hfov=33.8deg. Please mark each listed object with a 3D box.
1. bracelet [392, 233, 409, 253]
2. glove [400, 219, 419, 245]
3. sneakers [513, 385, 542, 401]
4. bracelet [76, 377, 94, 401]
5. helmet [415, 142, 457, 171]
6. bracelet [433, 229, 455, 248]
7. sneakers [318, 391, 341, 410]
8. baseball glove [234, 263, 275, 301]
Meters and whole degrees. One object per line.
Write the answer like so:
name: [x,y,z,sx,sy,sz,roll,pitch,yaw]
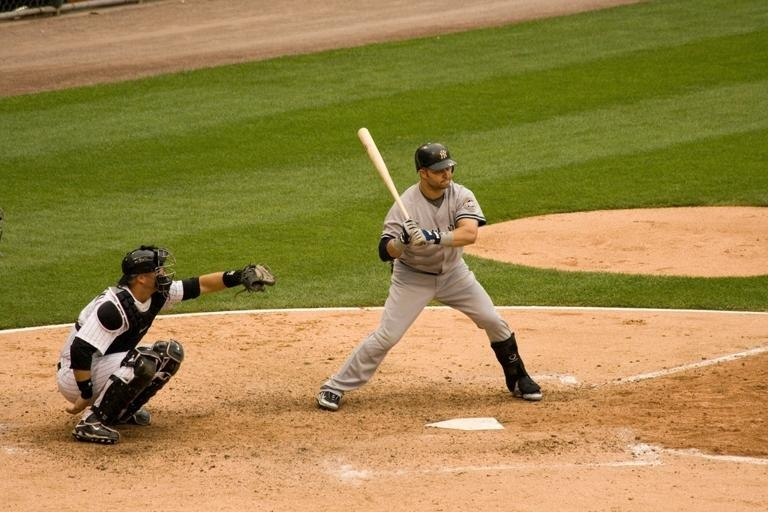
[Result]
bracelet: [0.262,-0.163,17.155,0.086,0.237,0.178,27,19,-35]
glove: [0.368,-0.297,17.101,0.207,0.331,0.300,-22,17,-32]
sneakers: [2.021,1.912,17.595,0.387,0.188,0.194,-1,5,30]
bracelet: [-3.982,1.786,16.939,0.204,0.293,0.087,-15,15,-11]
helmet: [0.661,-1.351,17.430,0.529,0.251,0.377,0,17,36]
bracelet: [0.831,-0.217,17.175,0.274,0.101,0.193,15,35,33]
sneakers: [-0.741,2.007,17.501,0.194,0.151,0.387,7,-1,-21]
baseball glove: [-1.654,0.310,17.242,0.398,0.204,0.487,15,22,20]
